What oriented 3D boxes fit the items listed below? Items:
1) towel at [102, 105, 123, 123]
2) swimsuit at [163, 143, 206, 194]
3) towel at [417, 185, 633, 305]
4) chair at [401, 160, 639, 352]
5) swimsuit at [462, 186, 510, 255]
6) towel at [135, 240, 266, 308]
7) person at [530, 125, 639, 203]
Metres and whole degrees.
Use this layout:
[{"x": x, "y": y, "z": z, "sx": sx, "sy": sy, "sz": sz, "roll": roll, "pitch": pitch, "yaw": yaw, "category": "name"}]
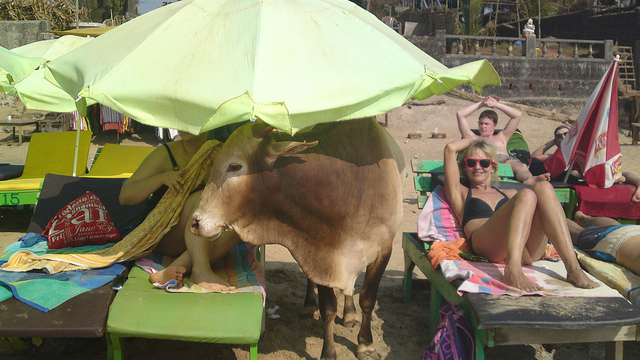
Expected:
[{"x": -6.251, "y": -1.979, "z": 20.158, "sx": 0.277, "sy": 0.524, "sz": 0.685, "roll": 8, "pitch": 15, "yaw": 35, "category": "towel"}, {"x": -2.062, "y": -0.264, "z": 10.749, "sx": 0.204, "sy": 0.791, "sz": 0.585, "roll": -31, "pitch": 15, "yaw": -26, "category": "swimsuit"}, {"x": 3.108, "y": 0.991, "z": 10.422, "sx": 2.654, "sy": 1.258, "sz": 3.497, "roll": 1, "pitch": 9, "yaw": -1, "category": "towel"}, {"x": 2.980, "y": 1.014, "z": 11.425, "sx": 2.310, "sy": 2.464, "sz": 3.738, "roll": -3, "pitch": 14, "yaw": -8, "category": "chair"}, {"x": 2.693, "y": 0.552, "z": 10.740, "sx": 0.852, "sy": 1.169, "sz": 0.693, "roll": -12, "pitch": 45, "yaw": 20, "category": "swimsuit"}, {"x": -1.710, "y": 1.449, "z": 10.639, "sx": 1.354, "sy": 0.584, "sz": 1.365, "roll": 5, "pitch": 6, "yaw": 4, "category": "towel"}, {"x": 5.364, "y": -0.219, "z": 13.448, "sx": 1.393, "sy": 0.810, "sz": 2.436, "roll": 3, "pitch": 56, "yaw": -7, "category": "person"}]
